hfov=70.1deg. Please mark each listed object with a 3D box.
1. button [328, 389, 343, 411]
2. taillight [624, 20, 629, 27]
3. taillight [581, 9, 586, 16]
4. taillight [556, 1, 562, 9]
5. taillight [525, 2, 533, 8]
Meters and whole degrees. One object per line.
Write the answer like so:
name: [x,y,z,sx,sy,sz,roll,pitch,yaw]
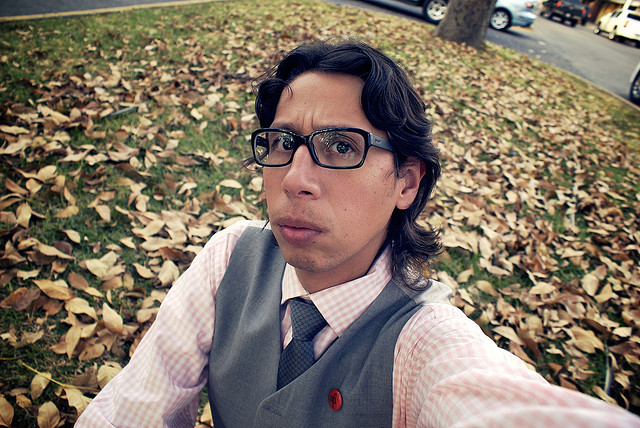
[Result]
button: [0.126,1.507,3.661,0.021,0.131,0.153,25,46,-59]
taillight: [6.381,-3.994,9.545,0.040,0.116,0.128,14,37,4]
taillight: [6.611,-5.118,11.509,0.132,0.125,0.046,-48,30,-17]
taillight: [6.083,-5.401,11.690,0.026,0.173,0.123,-16,45,-31]
taillight: [4.737,-4.790,10.405,0.194,0.090,0.062,3,38,-11]
